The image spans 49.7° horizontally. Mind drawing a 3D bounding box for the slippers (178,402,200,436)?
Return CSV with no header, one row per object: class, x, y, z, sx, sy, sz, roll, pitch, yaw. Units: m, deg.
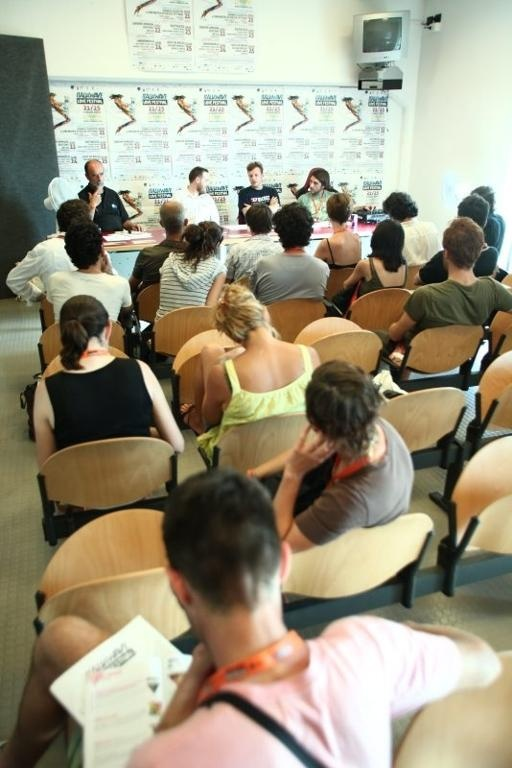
slippers,-0.306,0.173,2.676,0.076,0.089,0.225,-17,10,-26
